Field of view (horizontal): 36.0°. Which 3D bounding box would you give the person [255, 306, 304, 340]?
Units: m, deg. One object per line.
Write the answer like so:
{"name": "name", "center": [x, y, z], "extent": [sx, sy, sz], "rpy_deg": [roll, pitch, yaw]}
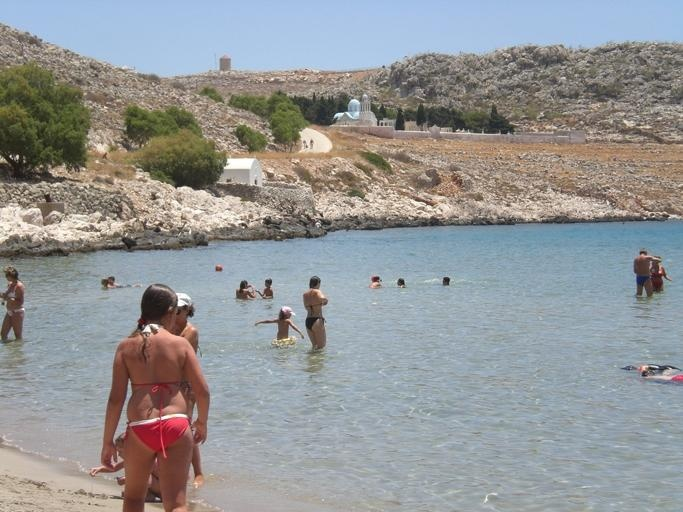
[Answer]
{"name": "person", "center": [-2.234, 2.420, 36.863], "extent": [1.168, 1.099, 0.421], "rpy_deg": [-2, -29, 14]}

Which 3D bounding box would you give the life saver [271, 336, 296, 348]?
{"name": "life saver", "center": [-1.898, 2.853, 34.596], "extent": [0.873, 0.228, 0.787], "rpy_deg": [-2, 13, -12]}

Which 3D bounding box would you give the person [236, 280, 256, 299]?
{"name": "person", "center": [-4.026, 1.341, 43.750], "extent": [0.795, 0.962, 1.547], "rpy_deg": [0, 13, -2]}

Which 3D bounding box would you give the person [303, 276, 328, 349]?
{"name": "person", "center": [-0.869, 1.836, 33.469], "extent": [0.652, 2.587, 1.326], "rpy_deg": [0, 14, -1]}

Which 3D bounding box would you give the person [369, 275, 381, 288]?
{"name": "person", "center": [1.512, 1.199, 48.100], "extent": [0.496, 0.570, 0.715], "rpy_deg": [0, 13, -2]}
